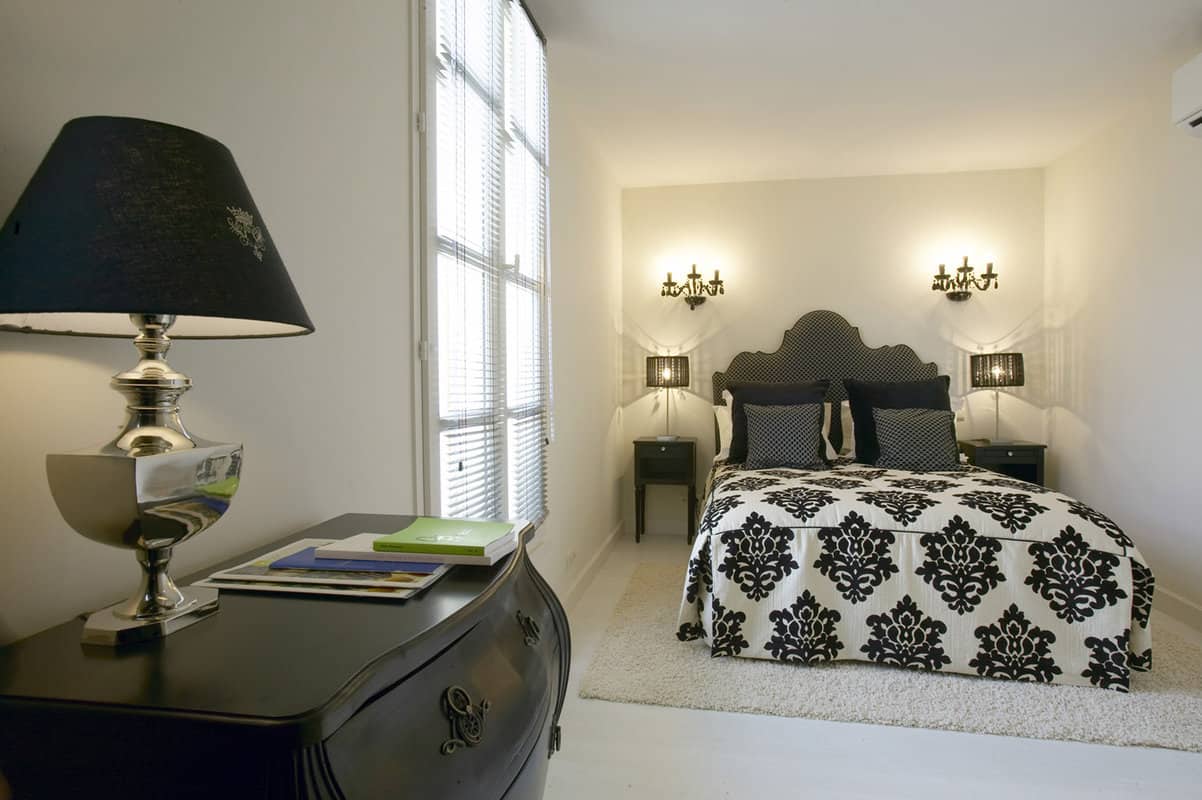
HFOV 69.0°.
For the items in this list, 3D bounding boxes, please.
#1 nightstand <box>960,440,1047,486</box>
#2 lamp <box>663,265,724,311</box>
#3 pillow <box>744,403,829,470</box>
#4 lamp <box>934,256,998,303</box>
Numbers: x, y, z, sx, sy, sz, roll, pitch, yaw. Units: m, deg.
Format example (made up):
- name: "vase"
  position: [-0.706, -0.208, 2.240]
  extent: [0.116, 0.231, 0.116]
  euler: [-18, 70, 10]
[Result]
- name: "nightstand"
  position: [2.528, 0.368, 5.521]
  extent: [0.363, 0.433, 0.322]
  euler: [-1, 1, 0]
- name: "lamp"
  position: [0.651, -0.789, 6.175]
  extent: [0.315, 0.215, 0.320]
  euler: [-2, 3, -18]
- name: "pillow"
  position: [1.059, 0.216, 5.064]
  extent: [0.376, 0.394, 0.121]
  euler: [1, -18, 9]
- name: "lamp"
  position: [2.418, -0.801, 5.830]
  extent: [0.414, 0.294, 0.156]
  euler: [2, 12, 15]
